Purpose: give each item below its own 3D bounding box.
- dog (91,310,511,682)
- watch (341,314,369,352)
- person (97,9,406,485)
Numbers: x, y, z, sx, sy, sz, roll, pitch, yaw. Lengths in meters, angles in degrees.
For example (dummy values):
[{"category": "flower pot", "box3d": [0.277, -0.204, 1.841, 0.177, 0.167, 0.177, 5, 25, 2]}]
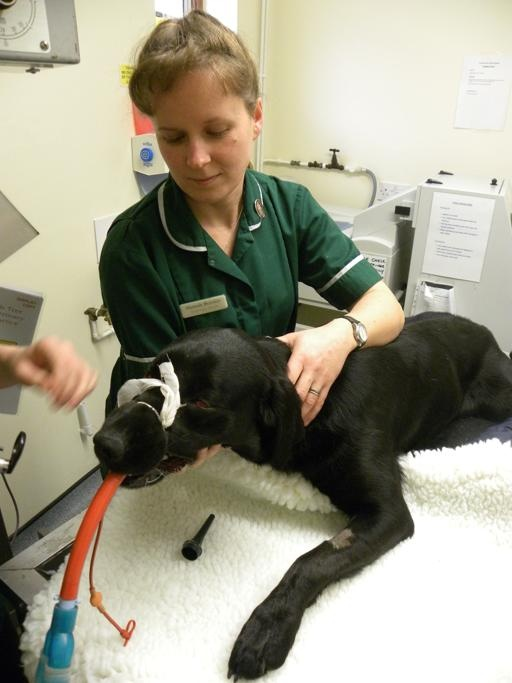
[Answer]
[{"category": "dog", "box3d": [0.139, 0.121, 0.842, 0.582, 0.191, 0.369, -28, 17, -38]}, {"category": "watch", "box3d": [0.181, -0.019, 0.980, 0.036, 0.057, 0.054, -29, 14, -33]}, {"category": "person", "box3d": [-0.010, -0.227, 1.205, 0.664, 0.843, 0.436, -6, 28, -10]}]
